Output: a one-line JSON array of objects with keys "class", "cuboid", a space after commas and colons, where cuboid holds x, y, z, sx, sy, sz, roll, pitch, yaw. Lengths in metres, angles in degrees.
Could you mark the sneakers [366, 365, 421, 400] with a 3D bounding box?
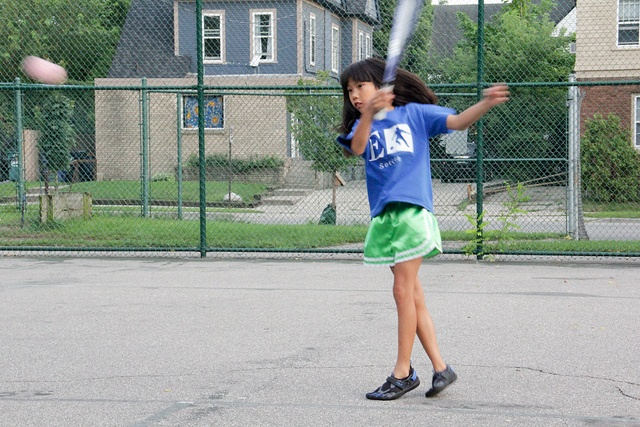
[{"class": "sneakers", "cuboid": [0.763, 1.728, 8.467, 0.629, 0.258, 0.228, -22, 1, -16]}]
